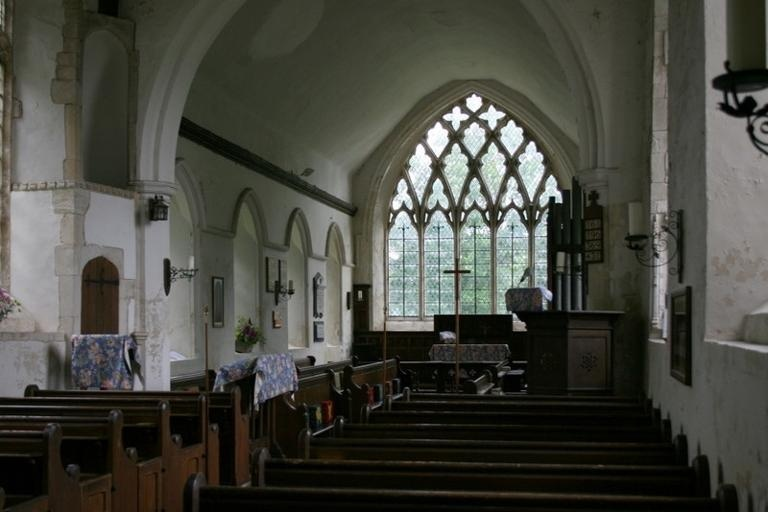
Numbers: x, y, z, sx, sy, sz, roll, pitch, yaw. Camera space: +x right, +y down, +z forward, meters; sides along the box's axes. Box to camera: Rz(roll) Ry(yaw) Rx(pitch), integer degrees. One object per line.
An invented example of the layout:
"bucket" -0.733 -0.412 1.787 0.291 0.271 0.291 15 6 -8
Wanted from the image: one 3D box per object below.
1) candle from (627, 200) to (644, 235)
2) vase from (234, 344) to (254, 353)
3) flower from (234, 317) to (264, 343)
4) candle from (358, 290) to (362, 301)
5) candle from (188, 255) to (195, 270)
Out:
"candle" 2.442 -0.350 7.650 0.106 0.320 0.169 -5 -7 25
"vase" -2.512 1.667 14.442 0.230 0.200 0.560 -6 -7 25
"flower" -2.460 1.378 14.544 0.421 0.497 0.706 -2 -6 -3
"candle" -0.571 0.980 19.916 0.175 0.327 0.182 0 -5 -7
"candle" -2.997 0.113 12.379 0.100 0.210 0.202 -1 -6 -2
